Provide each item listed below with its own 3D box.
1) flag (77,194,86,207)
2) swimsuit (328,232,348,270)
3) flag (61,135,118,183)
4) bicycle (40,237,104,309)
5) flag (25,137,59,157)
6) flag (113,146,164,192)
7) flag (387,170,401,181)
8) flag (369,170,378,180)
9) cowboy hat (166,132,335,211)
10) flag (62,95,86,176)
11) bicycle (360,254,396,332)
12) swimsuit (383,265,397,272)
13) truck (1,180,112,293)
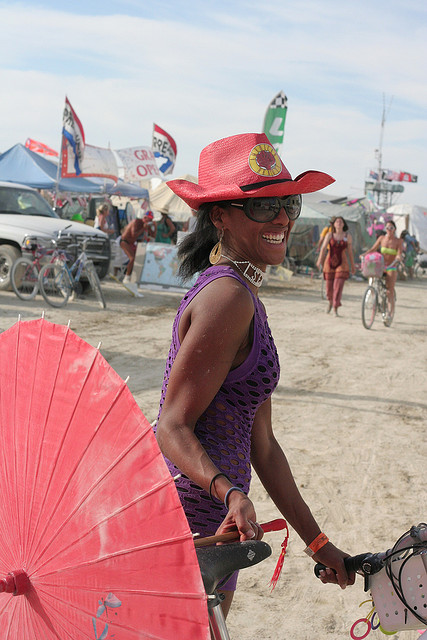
[{"bbox_3d":[-4.208,-3.801,19.927,0.195,0.392,0.455,-1,11,-26],"label":"flag"},{"bbox_3d":[2.337,-1.273,11.866,0.281,0.619,0.213,8,11,16],"label":"swimsuit"},{"bbox_3d":[-3.133,-4.094,16.310,2.213,1.325,0.183,25,38,30],"label":"flag"},{"bbox_3d":[-2.805,-0.812,11.278,0.858,0.940,1.626,6,17,22],"label":"bicycle"},{"bbox_3d":[-7.504,-7.508,27.265,1.040,0.699,2.637,0,10,-22],"label":"flag"},{"bbox_3d":[-2.391,-5.154,20.527,0.268,1.257,1.798,-9,12,41],"label":"flag"},{"bbox_3d":[24.125,-19.129,83.263,0.749,1.114,4.747,10,11,27],"label":"flag"},{"bbox_3d":[19.897,-17.810,77.115,1.009,1.188,4.760,6,9,11],"label":"flag"},{"bbox_3d":[0.093,-0.330,1.419,0.387,0.173,0.254,3,9,-4],"label":"cowboy hat"},{"bbox_3d":[-3.087,-4.018,13.741,0.423,1.553,1.010,3,10,-9],"label":"flag"},{"bbox_3d":[2.899,-0.537,11.302,0.512,1.303,1.145,8,11,15],"label":"bicycle"},{"bbox_3d":[3.347,-0.959,11.744,0.181,0.048,0.187,-3,12,40],"label":"swimsuit"},{"bbox_3d":[-3.668,-1.746,12.116,2.808,1.443,1.686,11,11,33],"label":"truck"}]
